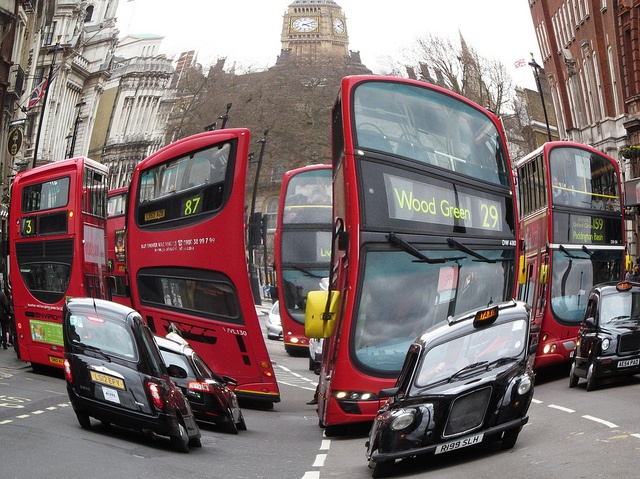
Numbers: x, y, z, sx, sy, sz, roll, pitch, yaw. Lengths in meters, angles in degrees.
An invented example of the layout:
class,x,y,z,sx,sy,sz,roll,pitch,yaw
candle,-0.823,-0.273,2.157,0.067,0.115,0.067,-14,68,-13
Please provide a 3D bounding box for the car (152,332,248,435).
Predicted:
class,x,y,z,sx,sy,sz,roll,pitch,yaw
car,-2.264,2.851,8.583,1.471,1.018,2.288,0,-3,13

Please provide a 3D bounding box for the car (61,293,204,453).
class,x,y,z,sx,sy,sz,roll,pitch,yaw
car,-2.594,1.875,6.785,1.471,1.230,2.559,1,-2,10
